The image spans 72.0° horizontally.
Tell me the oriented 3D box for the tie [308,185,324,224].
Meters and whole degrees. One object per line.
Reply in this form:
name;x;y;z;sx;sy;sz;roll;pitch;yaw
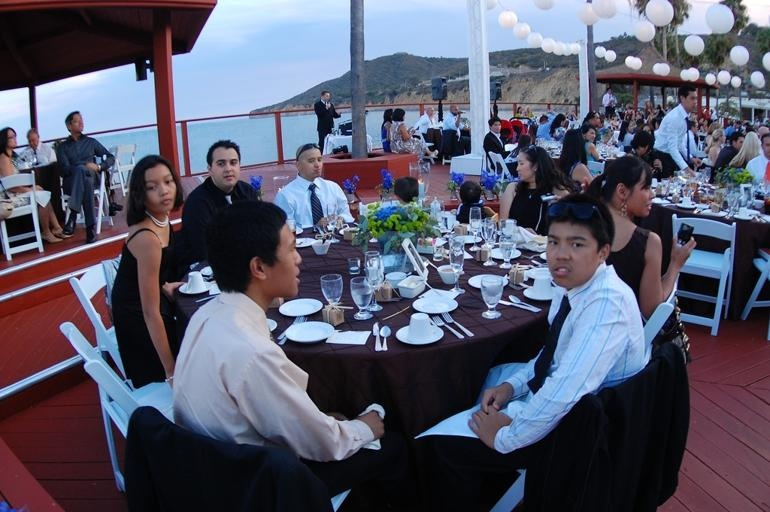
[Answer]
tie;-0.685;-0.519;5.293;0.121;0.376;0.186;-7;16;-8

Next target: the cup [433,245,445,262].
cup;0.398;-0.013;4.064;0.083;0.114;0.105;-3;12;-5

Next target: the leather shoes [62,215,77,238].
leather shoes;-4.119;-0.392;6.942;0.133;0.419;0.161;0;-12;-12

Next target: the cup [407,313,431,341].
cup;0.190;0.405;2.966;0.095;0.109;0.147;0;8;5

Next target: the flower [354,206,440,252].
flower;0.058;-0.196;3.531;0.356;0.215;0.369;-5;8;-17

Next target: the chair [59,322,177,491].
chair;-1.637;0.939;3.274;0.646;0.983;0.516;-22;41;-29

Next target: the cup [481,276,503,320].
cup;0.633;0.250;3.148;0.149;0.239;0.143;-4;26;2

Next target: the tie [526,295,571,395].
tie;0.896;0.483;2.907;0.086;0.613;0.084;21;15;-26

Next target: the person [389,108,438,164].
person;0.624;-2.787;12.319;1.114;1.266;0.573;-12;23;-26

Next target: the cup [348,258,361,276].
cup;-0.215;0.072;3.779;0.104;0.119;0.101;-1;13;0

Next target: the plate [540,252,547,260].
plate;1.130;0.005;3.803;0.060;0.009;0.064;-5;41;28

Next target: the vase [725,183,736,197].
vase;3.444;-0.657;5.300;0.115;0.132;0.116;0;11;41

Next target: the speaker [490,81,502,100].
speaker;3.432;-5.116;16.570;0.322;0.577;1.717;-2;17;10

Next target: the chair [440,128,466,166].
chair;1.721;-2.795;13.411;0.639;0.843;0.699;1;19;9

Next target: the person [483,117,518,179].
person;2.131;-2.038;10.200;0.591;1.178;0.503;5;27;5

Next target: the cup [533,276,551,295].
cup;0.988;0.186;3.324;0.077;0.116;0.120;-1;7;25

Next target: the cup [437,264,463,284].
cup;0.432;0.119;3.577;0.128;0.071;0.134;-1;15;0

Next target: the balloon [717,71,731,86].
balloon;12.818;-6.762;20.104;0.360;0.433;1.079;4;19;30

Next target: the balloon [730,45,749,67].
balloon;9.758;-5.520;14.626;0.581;0.452;0.356;-19;21;-39

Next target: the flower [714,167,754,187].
flower;3.658;-0.808;5.536;0.290;0.156;0.355;-4;16;7

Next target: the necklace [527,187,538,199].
necklace;1.406;-0.593;5.061;0.026;0.096;0.099;0;21;-40

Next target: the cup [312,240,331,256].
cup;-0.501;-0.061;4.201;0.120;0.087;0.102;-2;12;20

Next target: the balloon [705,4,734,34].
balloon;6.646;-4.744;10.578;0.482;0.537;0.883;4;19;30

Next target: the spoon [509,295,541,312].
spoon;0.854;0.305;3.253;0.064;0.033;0.236;-25;34;-24

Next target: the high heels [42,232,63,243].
high heels;-4.160;-0.229;6.669;0.251;0.121;0.089;9;31;24

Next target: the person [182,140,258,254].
person;-1.435;-0.506;4.734;0.696;0.986;0.733;10;18;28
